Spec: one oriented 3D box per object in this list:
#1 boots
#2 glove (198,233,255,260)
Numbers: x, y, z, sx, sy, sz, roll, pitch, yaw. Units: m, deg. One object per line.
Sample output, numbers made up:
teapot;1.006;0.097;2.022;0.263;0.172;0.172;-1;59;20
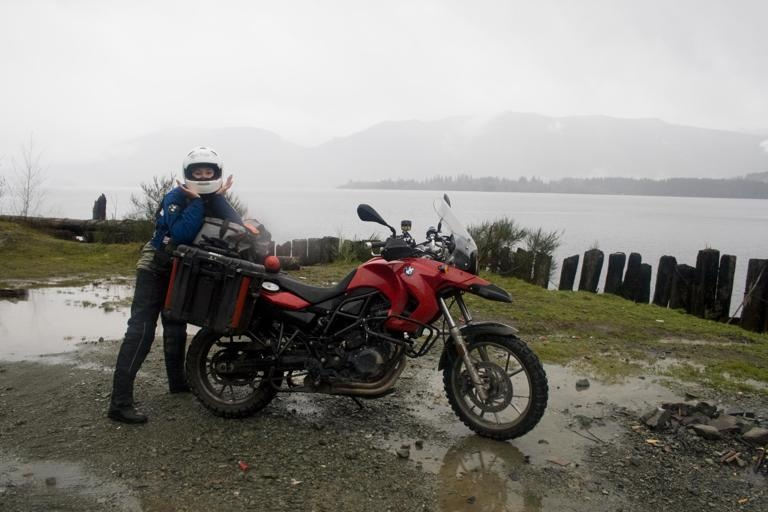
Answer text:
boots;-3.163;1.487;6.594;0.538;1.056;0.476;2;15;0
glove;-1.951;-0.114;6.658;0.435;0.166;0.332;10;6;-17
